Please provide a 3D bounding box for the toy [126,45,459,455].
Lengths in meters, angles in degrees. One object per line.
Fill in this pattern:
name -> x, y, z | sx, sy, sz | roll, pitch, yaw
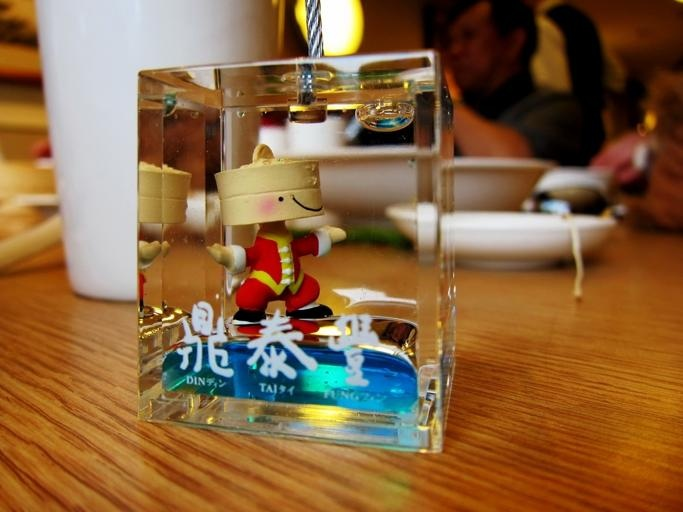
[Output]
toy -> -0.041, -0.040, 0.738 | 0.299, 0.392, 0.347 | 1, 18, 1
